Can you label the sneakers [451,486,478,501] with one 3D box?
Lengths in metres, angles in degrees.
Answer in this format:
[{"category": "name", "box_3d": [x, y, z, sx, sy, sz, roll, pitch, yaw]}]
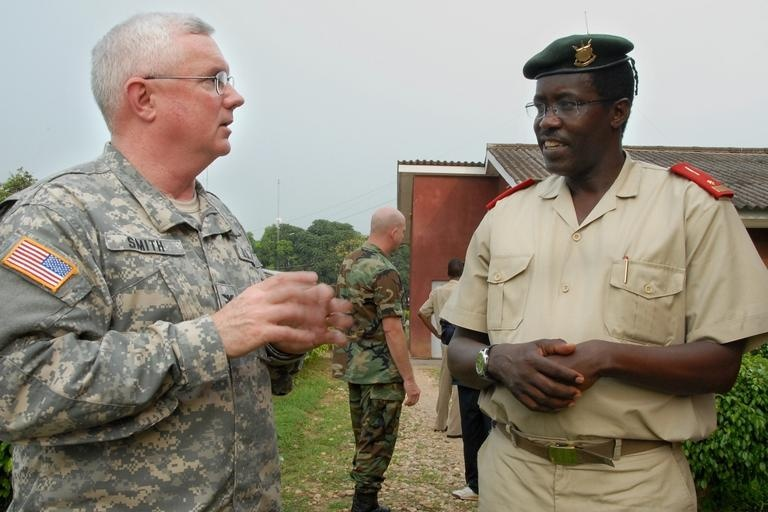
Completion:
[{"category": "sneakers", "box_3d": [0.725, 2.155, 6.292, 0.242, 0.103, 0.109, 4, -6, 6]}]
